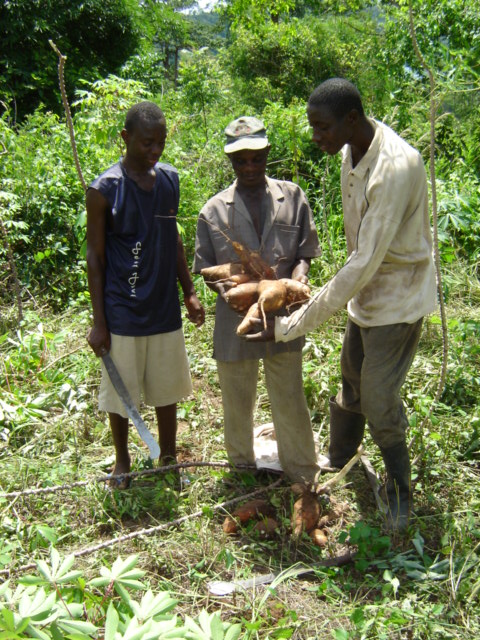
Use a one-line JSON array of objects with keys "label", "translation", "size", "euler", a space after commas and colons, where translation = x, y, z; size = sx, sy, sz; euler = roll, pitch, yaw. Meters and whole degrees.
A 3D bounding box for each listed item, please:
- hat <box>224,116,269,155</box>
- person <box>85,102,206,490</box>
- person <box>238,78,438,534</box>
[{"label": "hat", "translation": [0.020, -0.848, 2.749], "size": [0.181, 0.109, 0.217], "euler": [-1, 23, 6]}, {"label": "person", "translation": [-0.493, -0.111, 3.170], "size": [0.637, 1.957, 0.284], "euler": [-16, 22, -42]}, {"label": "person", "translation": [0.569, -0.034, 2.812], "size": [0.659, 2.054, 0.411], "euler": [4, 17, 15]}]
